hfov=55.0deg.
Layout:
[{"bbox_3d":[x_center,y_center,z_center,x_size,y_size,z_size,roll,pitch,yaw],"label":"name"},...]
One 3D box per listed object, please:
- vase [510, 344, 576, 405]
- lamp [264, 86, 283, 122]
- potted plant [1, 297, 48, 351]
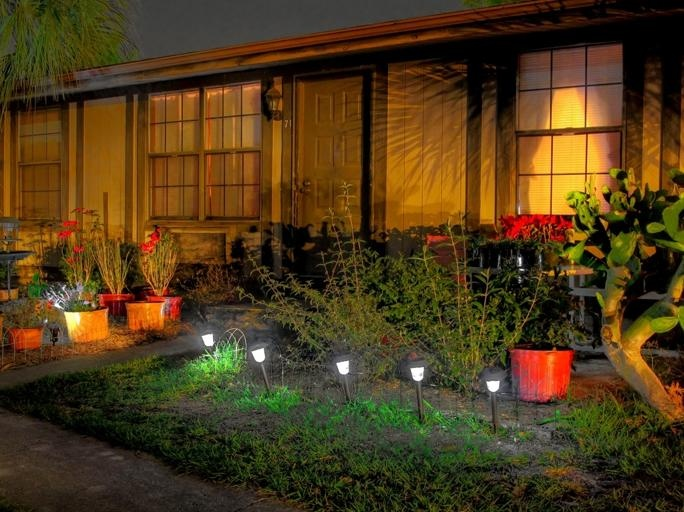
[{"bbox_3d":[1.749,1.018,5.721,0.435,0.378,0.469,8,-12,-31],"label":"vase"},{"bbox_3d":[-1.067,-2.408,10.287,0.277,0.534,0.226,-3,12,-8],"label":"lamp"},{"bbox_3d":[-3.799,0.821,7.915,0.670,0.799,0.600,2,-8,-26],"label":"potted plant"}]
